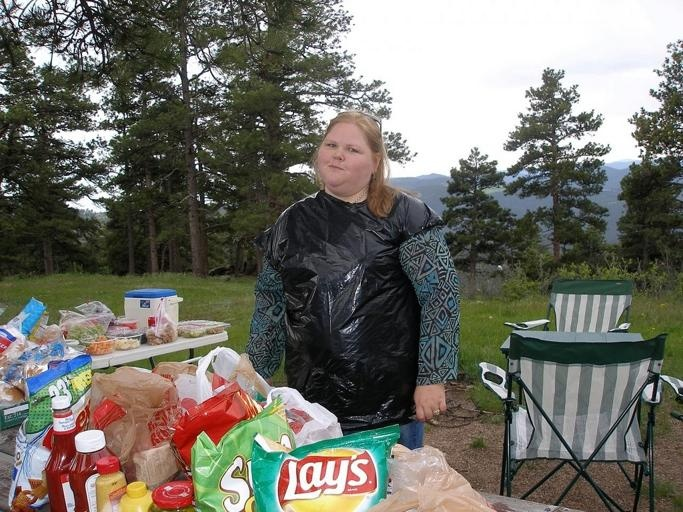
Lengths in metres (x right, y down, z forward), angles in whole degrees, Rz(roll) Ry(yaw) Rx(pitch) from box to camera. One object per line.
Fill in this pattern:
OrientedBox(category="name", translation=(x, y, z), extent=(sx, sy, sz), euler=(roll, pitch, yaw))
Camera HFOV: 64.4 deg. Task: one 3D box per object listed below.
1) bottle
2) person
OrientedBox(category="bottle", translation=(-0.775, 0.746, 1.963), extent=(0.522, 0.376, 0.325), euler=(0, 0, -6))
OrientedBox(category="person", translation=(0.058, 0.124, 2.710), extent=(1.027, 1.527, 0.252), euler=(0, 0, 12))
